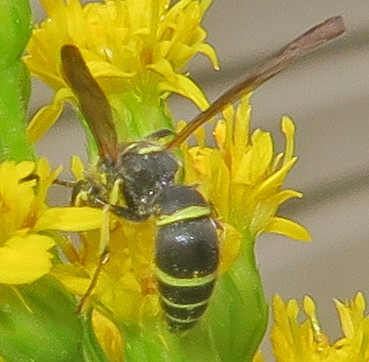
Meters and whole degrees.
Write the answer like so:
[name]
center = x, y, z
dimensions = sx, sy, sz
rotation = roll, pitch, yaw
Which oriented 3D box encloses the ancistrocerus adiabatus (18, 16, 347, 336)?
[ancistrocerus adiabatus]
center = -0.020, 0.013, 0.630
dimensions = 0.242, 0.134, 0.175
rotation = -5, 44, -18
